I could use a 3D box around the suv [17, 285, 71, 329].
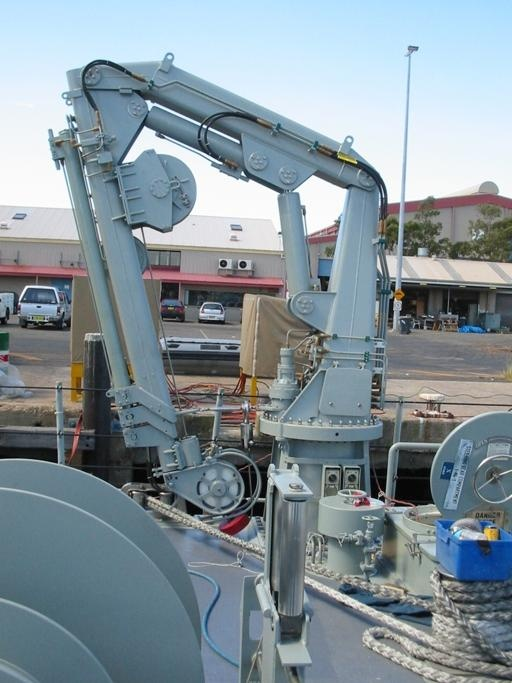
[{"bbox_3d":[-7.283,-1.218,25.082,1.195,0.955,2.048,1,11,-2],"label":"suv"}]

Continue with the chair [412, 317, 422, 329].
[{"bbox_3d":[8.774,-1.023,39.406,0.694,0.789,0.643,0,9,14],"label":"chair"}]
